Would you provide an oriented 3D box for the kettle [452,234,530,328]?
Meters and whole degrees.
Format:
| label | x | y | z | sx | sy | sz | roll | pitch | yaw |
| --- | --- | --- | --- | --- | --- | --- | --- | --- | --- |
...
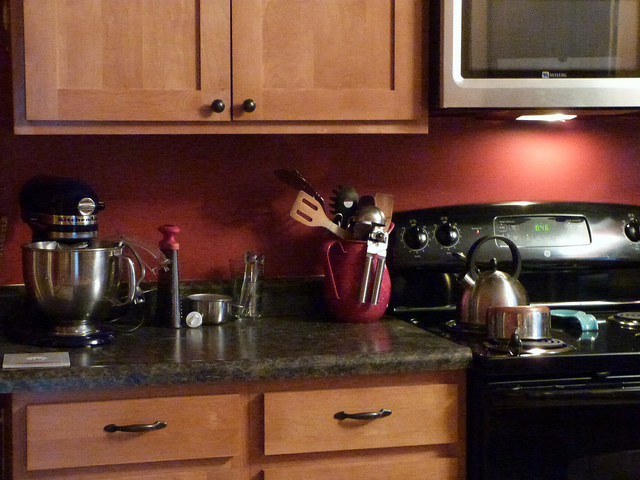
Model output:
| label | x | y | z | sx | sy | sz | roll | pitch | yaw |
| --- | --- | --- | --- | --- | --- | --- | --- | --- | --- |
| kettle | 0.485 | 0.116 | 1.864 | 0.208 | 0.253 | 0.324 | 0 | 4 | 11 |

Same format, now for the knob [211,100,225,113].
| label | x | y | z | sx | sy | sz | roll | pitch | yaw |
| --- | --- | --- | --- | --- | --- | --- | --- | --- | --- |
| knob | -0.277 | -0.357 | 1.732 | 0.040 | 0.028 | 0.020 | 20 | -2 | -6 |

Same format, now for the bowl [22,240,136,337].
| label | x | y | z | sx | sy | sz | roll | pitch | yaw |
| --- | --- | --- | --- | --- | --- | --- | --- | --- | --- |
| bowl | -0.666 | 0.125 | 1.773 | 0.271 | 0.241 | 0.317 | -2 | 4 | -19 |

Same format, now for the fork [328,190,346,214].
| label | x | y | z | sx | sy | sz | roll | pitch | yaw |
| --- | --- | --- | --- | --- | --- | --- | --- | --- | --- |
| fork | 0.046 | -0.111 | 1.962 | 0.028 | 0.069 | 0.048 | -5 | 6 | -37 |

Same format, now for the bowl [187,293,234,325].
| label | x | y | z | sx | sy | sz | roll | pitch | yaw |
| --- | --- | --- | --- | --- | --- | --- | --- | --- | --- |
| bowl | -0.321 | 0.203 | 1.876 | 0.121 | 0.047 | 0.105 | 0 | 1 | 2 |

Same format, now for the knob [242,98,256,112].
| label | x | y | z | sx | sy | sz | roll | pitch | yaw |
| --- | --- | --- | --- | --- | --- | --- | --- | --- | --- |
| knob | -0.195 | -0.364 | 1.751 | 0.036 | 0.038 | 0.021 | -1 | 5 | -5 |

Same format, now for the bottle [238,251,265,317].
| label | x | y | z | sx | sy | sz | roll | pitch | yaw |
| --- | --- | --- | --- | --- | --- | --- | --- | --- | --- |
| bottle | -0.203 | 0.140 | 1.939 | 0.041 | 0.191 | 0.091 | 3 | 6 | 39 |
